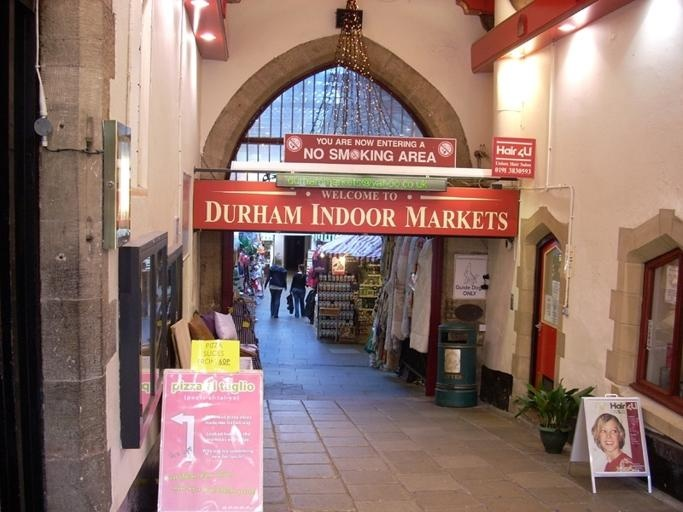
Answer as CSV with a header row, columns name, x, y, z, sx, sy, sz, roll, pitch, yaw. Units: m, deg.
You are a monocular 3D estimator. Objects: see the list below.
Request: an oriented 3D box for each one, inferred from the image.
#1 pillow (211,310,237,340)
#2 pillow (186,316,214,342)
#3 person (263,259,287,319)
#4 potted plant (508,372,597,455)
name,x,y,z,sx,sy,sz,roll,pitch,yaw
pillow,-1.868,1.080,8.896,0.159,0.347,0.604,-27,3,2
pillow,-1.859,0.944,7.354,0.138,0.353,0.391,-15,10,-2
person,-2.204,1.162,18.938,0.591,1.904,1.588,3,0,-8
potted plant,2.622,2.033,7.156,0.855,0.787,0.663,0,-14,-22
